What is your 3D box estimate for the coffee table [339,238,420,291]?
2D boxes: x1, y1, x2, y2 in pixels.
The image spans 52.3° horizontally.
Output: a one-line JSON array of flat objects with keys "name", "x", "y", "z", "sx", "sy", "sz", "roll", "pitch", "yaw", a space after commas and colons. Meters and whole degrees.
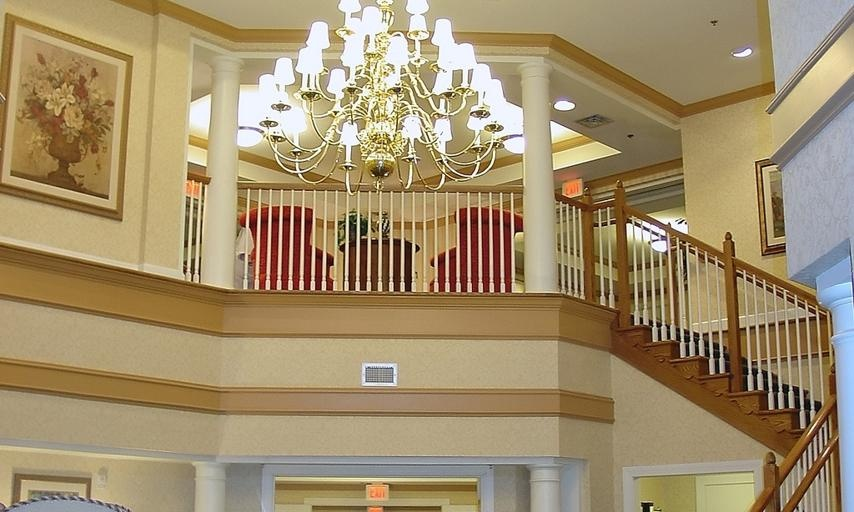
[{"name": "coffee table", "x": -0.658, "y": 0.148, "z": 11.924, "sx": 1.095, "sy": 0.878, "sz": 0.742, "roll": 2, "pitch": -18, "yaw": -7}]

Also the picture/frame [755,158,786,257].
[{"name": "picture/frame", "x": 5.235, "y": -0.765, "z": 13.348, "sx": 0.436, "sy": 1.506, "sz": 0.240, "roll": -14, "pitch": -22, "yaw": 37}]

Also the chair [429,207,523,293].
[{"name": "chair", "x": 0.748, "y": -0.033, "z": 12.242, "sx": 1.281, "sy": 1.240, "sz": 1.106, "roll": -5, "pitch": -9, "yaw": 42}]

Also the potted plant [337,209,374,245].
[{"name": "potted plant", "x": -1.053, "y": -0.400, "z": 11.989, "sx": 0.488, "sy": 0.478, "sz": 0.494, "roll": -2, "pitch": -6, "yaw": 37}]

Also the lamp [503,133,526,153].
[{"name": "lamp", "x": 0.984, "y": -1.320, "z": 10.019, "sx": 0.215, "sy": 0.191, "sz": 0.447, "roll": -3, "pitch": -19, "yaw": 8}]

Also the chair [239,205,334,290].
[{"name": "chair", "x": -1.935, "y": -0.049, "z": 12.211, "sx": 1.241, "sy": 1.207, "sz": 1.176, "roll": -7, "pitch": -10, "yaw": 33}]
